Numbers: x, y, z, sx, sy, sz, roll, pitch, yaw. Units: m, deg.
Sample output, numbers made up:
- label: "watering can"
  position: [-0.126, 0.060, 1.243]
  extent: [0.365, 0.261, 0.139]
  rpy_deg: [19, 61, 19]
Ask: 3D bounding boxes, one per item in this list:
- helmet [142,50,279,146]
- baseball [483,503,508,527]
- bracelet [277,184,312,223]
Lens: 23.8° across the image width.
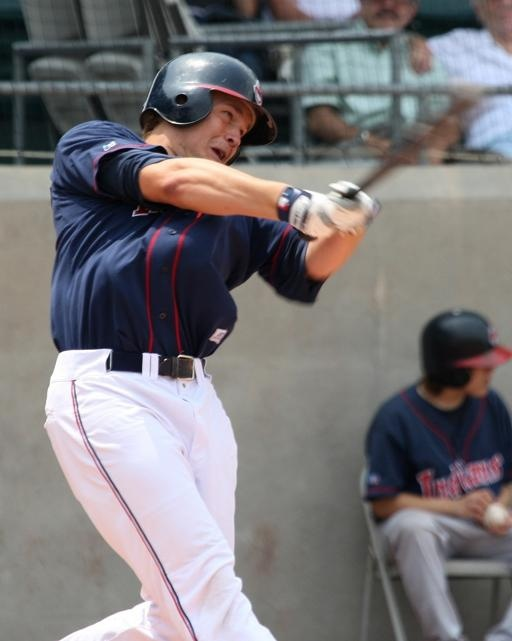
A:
- label: "helmet"
  position: [-0.143, -0.612, 3.325]
  extent: [0.367, 0.205, 0.260]
  rpy_deg: [6, -4, 11]
- label: "baseball"
  position: [0.769, 0.620, 3.895]
  extent: [0.075, 0.034, 0.079]
  rpy_deg: [0, 31, 8]
- label: "bracelet"
  position: [0.090, -0.273, 2.845]
  extent: [0.073, 0.089, 0.034]
  rpy_deg: [19, -7, 12]
